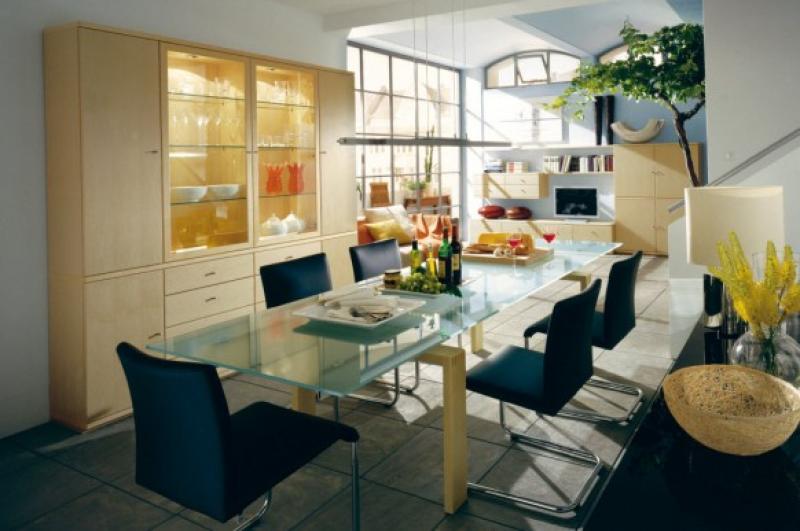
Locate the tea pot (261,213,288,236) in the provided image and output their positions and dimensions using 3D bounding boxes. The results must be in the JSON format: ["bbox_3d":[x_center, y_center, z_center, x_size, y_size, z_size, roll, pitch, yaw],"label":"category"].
[{"bbox_3d":[-1.177,-0.380,5.040,0.188,0.185,0.186,-1,0,0],"label":"tea pot"}]

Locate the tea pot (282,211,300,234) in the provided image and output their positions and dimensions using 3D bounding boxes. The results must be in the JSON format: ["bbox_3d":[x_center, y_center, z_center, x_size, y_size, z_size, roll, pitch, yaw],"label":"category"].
[{"bbox_3d":[-1.025,-0.420,5.227,0.168,0.217,0.167,-2,0,0],"label":"tea pot"}]

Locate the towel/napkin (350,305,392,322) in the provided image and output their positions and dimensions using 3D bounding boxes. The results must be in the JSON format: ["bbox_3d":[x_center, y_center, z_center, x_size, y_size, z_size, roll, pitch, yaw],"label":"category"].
[{"bbox_3d":[-0.187,0.267,3.114,0.167,0.036,0.099,15,23,34],"label":"towel/napkin"}]

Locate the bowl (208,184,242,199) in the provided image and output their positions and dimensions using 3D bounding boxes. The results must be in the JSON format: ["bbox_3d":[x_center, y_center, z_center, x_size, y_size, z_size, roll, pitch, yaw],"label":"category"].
[{"bbox_3d":[-1.508,-0.633,4.709,0.287,0.125,0.031,-12,16,-36],"label":"bowl"}]

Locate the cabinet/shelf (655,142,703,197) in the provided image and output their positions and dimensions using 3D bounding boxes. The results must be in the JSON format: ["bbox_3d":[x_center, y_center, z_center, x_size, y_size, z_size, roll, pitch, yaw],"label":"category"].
[{"bbox_3d":[4.381,-1.531,8.908,0.555,0.876,0.196,8,17,39],"label":"cabinet/shelf"}]

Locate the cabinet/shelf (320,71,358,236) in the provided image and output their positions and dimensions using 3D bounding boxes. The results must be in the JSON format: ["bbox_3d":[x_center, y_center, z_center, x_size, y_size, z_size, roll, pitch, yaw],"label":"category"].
[{"bbox_3d":[-0.745,-1.155,5.631,0.184,1.674,0.341,6,13,14],"label":"cabinet/shelf"}]

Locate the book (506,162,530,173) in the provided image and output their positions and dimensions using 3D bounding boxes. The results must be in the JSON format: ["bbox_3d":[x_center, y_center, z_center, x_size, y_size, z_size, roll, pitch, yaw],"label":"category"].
[{"bbox_3d":[2.154,-1.824,10.181,0.417,0.183,0.199,0,13,9],"label":"book"}]

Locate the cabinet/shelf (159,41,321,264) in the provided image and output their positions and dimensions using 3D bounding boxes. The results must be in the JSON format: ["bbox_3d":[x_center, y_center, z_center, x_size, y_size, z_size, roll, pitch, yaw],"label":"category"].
[{"bbox_3d":[-1.203,-0.943,4.716,1.678,1.593,0.486,6,10,12],"label":"cabinet/shelf"}]

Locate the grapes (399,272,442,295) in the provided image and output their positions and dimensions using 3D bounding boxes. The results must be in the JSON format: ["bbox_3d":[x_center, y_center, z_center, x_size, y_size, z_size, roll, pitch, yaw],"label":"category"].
[{"bbox_3d":[0.140,0.103,3.607,0.193,0.103,0.150,2,5,31],"label":"grapes"}]

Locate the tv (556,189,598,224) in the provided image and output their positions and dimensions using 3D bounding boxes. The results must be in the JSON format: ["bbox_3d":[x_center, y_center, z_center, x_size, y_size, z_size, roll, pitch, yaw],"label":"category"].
[{"bbox_3d":[3.223,-1.083,9.963,0.655,0.475,0.173,3,9,28],"label":"tv"}]

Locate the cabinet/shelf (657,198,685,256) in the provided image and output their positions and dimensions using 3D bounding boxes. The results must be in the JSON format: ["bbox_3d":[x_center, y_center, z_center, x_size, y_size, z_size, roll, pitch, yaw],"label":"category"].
[{"bbox_3d":[4.363,-0.627,8.946,0.381,0.944,0.640,0,13,10],"label":"cabinet/shelf"}]

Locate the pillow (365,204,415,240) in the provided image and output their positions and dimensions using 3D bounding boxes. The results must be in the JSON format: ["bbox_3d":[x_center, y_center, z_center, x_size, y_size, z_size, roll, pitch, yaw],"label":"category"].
[{"bbox_3d":[-0.186,-0.586,7.569,0.190,0.596,0.631,-33,-13,37],"label":"pillow"}]

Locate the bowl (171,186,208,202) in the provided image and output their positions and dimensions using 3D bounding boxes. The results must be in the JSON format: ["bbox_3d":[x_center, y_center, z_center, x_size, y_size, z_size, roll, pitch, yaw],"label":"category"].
[{"bbox_3d":[-1.719,-0.579,4.463,0.035,0.138,0.338,5,15,29],"label":"bowl"}]

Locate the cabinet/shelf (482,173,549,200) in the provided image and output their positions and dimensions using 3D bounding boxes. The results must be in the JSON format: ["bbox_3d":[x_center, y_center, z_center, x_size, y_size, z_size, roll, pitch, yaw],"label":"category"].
[{"bbox_3d":[2.084,-1.493,10.154,1.143,0.430,0.394,0,13,11],"label":"cabinet/shelf"}]

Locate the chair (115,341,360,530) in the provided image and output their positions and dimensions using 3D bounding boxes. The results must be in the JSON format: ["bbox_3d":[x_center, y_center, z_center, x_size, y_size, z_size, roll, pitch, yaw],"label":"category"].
[{"bbox_3d":[-0.783,0.687,2.600,0.903,0.732,0.534,-10,15,-31],"label":"chair"}]
